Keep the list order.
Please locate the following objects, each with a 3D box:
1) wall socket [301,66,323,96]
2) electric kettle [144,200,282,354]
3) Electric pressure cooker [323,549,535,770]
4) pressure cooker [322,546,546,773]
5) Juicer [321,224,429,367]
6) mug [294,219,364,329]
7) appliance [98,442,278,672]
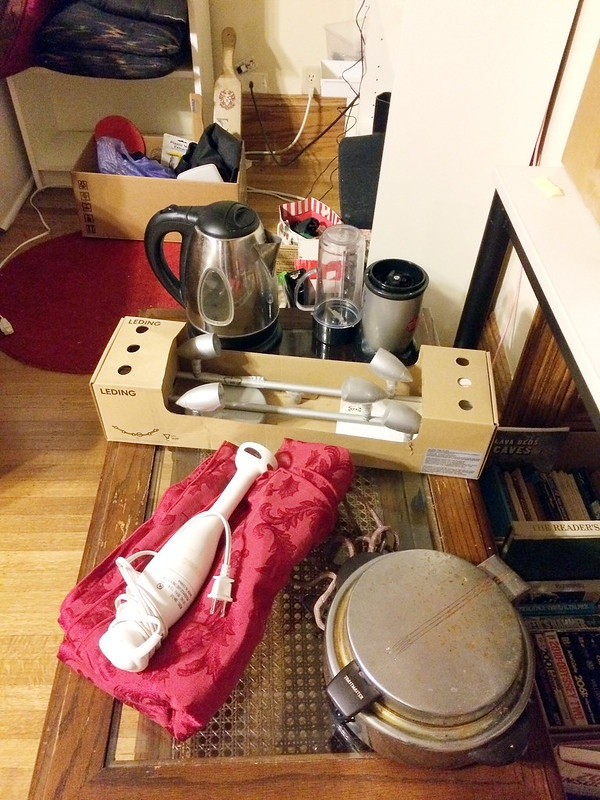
[{"bbox_3d":[0.047,-1.354,2.711,0.063,0.111,0.076,-14,45,-17],"label":"wall socket"},{"bbox_3d":[-0.124,-0.239,1.199,0.279,0.288,0.222,8,49,4],"label":"electric kettle"},{"bbox_3d":[0.131,0.272,0.679,0.213,0.147,0.215,17,44,15],"label":"Electric pressure cooker"},{"bbox_3d":[0.109,0.263,0.729,0.245,0.171,0.288,8,46,8],"label":"pressure cooker"},{"bbox_3d":[0.160,-0.154,1.103,0.135,0.150,0.133,26,46,22],"label":"Juicer"},{"bbox_3d":[0.073,-0.238,1.276,0.107,0.220,0.201,-1,48,-3],"label":"mug"},{"bbox_3d":[-0.136,0.165,0.764,0.093,0.079,0.329,19,44,17],"label":"appliance"}]
